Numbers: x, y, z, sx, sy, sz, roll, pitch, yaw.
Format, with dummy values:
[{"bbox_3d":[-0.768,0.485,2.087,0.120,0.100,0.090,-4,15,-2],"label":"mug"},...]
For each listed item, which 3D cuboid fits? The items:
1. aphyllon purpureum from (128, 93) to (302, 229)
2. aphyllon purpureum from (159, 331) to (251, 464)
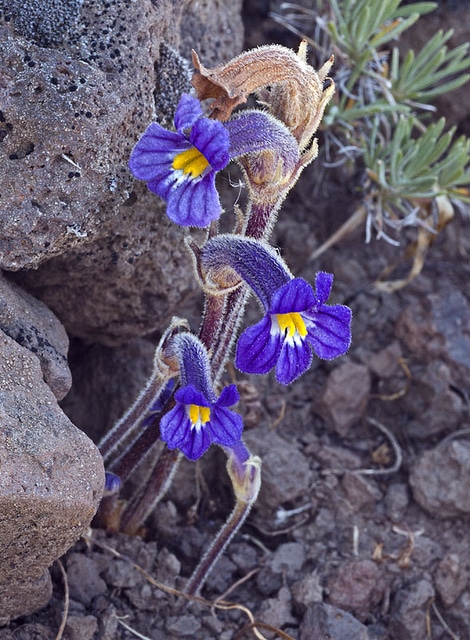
[{"bbox_3d":[-0.071,-0.483,2.171,0.483,0.350,0.168,-18,30,16],"label":"aphyllon purpureum"},{"bbox_3d":[-0.083,0.231,2.246,0.400,0.256,0.117,54,44,-6],"label":"aphyllon purpureum"}]
